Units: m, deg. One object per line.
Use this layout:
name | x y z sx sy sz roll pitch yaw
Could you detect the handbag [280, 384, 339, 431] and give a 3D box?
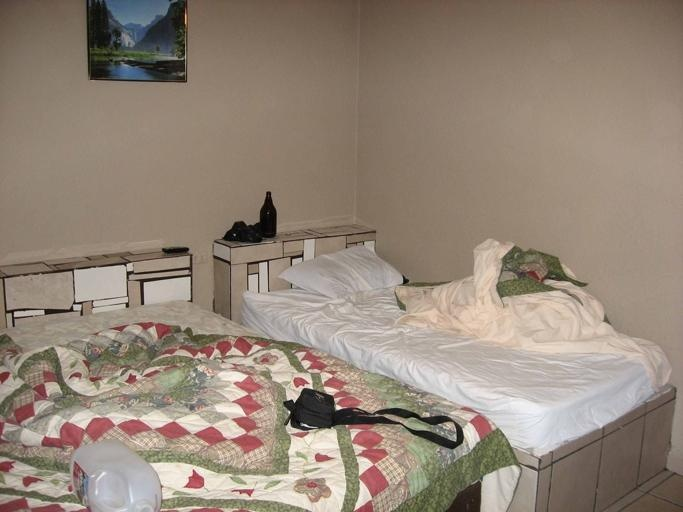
handbag | -0.135 0.668 2.321 0.217 0.134 0.135 -2 8 -2
